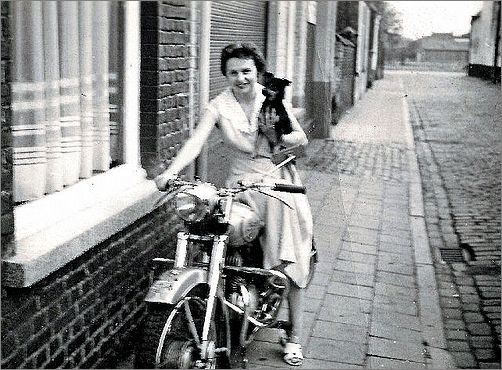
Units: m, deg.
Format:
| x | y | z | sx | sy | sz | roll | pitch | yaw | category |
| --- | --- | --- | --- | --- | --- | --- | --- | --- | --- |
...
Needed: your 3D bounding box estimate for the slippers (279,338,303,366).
| x | y | z | sx | sy | sz | roll | pitch | yaw | category |
| --- | --- | --- | --- | --- | --- | --- | --- | --- | --- |
| 0.298 | 1.269 | 3.760 | 0.134 | 0.163 | 0.175 | 1 | 0 | -7 | slippers |
